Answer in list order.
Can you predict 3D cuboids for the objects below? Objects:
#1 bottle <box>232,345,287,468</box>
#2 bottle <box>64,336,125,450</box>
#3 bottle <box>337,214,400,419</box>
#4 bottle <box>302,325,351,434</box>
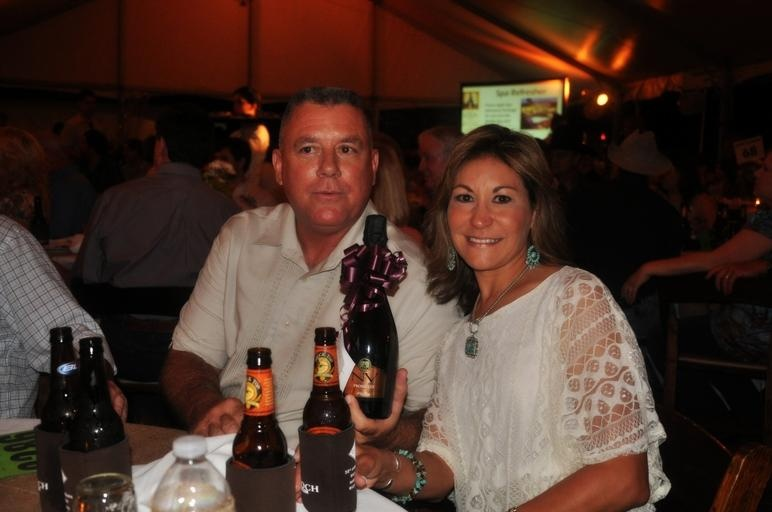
[{"bbox_3d":[-0.386,0.459,2.041,0.173,0.377,0.195,1,4,-13],"label":"bottle"},{"bbox_3d":[-0.927,0.435,2.088,0.177,0.349,0.103,0,4,-22],"label":"bottle"},{"bbox_3d":[-0.058,0.217,2.582,0.222,0.754,0.392,2,4,2],"label":"bottle"},{"bbox_3d":[-0.186,0.388,2.138,0.157,0.342,0.219,2,4,-3],"label":"bottle"}]
